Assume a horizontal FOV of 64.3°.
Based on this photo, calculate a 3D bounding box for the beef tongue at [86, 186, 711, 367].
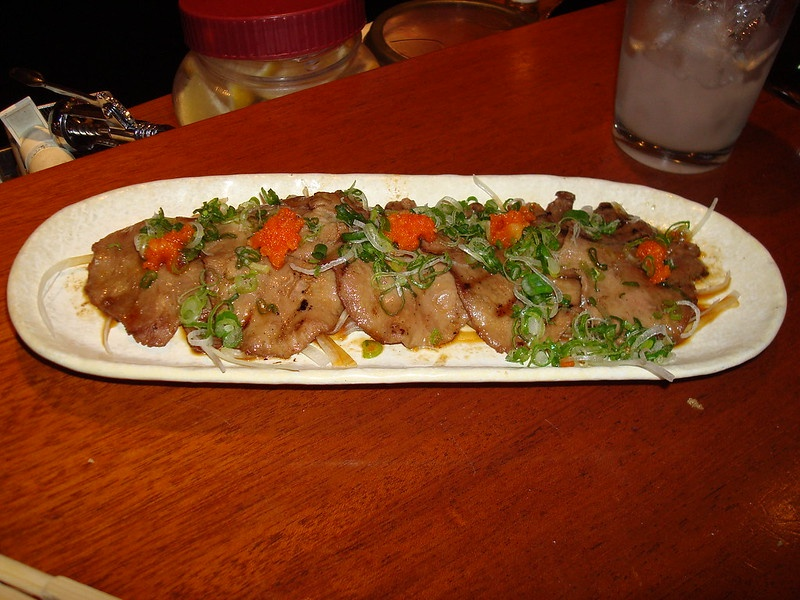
[{"bbox_3d":[0.053,-0.086,3.656,2.954,0.362,1.047,-1,44,-4],"label":"beef tongue"}]
